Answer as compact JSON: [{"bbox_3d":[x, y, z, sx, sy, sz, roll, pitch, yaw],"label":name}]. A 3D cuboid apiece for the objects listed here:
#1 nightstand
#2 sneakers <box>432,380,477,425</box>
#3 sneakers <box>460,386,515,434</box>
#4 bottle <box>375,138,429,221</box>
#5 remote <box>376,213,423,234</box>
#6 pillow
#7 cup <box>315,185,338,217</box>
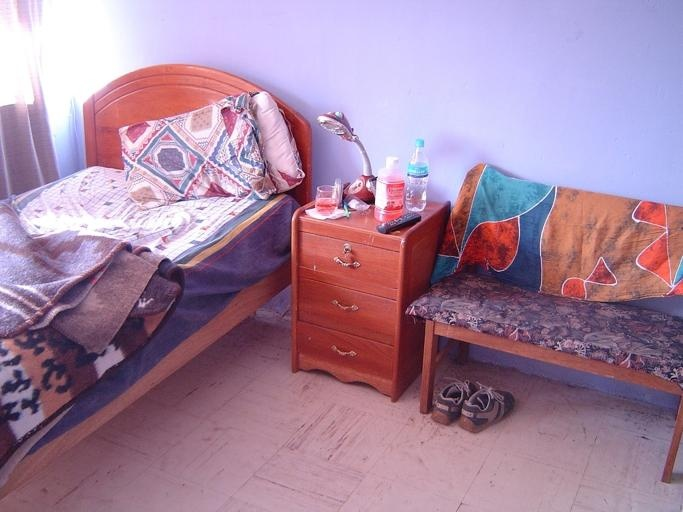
[{"bbox_3d":[0.152,0.175,2.579,0.771,0.815,0.788,3,19,1],"label":"nightstand"},{"bbox_3d":[0.521,0.630,2.344,0.102,0.108,0.296,12,28,32],"label":"sneakers"},{"bbox_3d":[0.646,0.649,2.289,0.291,0.131,0.123,-23,31,-37],"label":"sneakers"},{"bbox_3d":[0.290,-0.342,2.356,0.317,0.425,0.154,-17,35,-25],"label":"bottle"},{"bbox_3d":[0.253,-0.136,2.240,0.229,0.061,0.074,-14,40,-35],"label":"remote"},{"bbox_3d":[-0.681,-0.514,2.700,0.805,0.589,0.282,-12,-10,6],"label":"pillow"},{"bbox_3d":[-0.065,-0.248,2.372,0.124,0.130,0.121,0,22,0],"label":"cup"}]
